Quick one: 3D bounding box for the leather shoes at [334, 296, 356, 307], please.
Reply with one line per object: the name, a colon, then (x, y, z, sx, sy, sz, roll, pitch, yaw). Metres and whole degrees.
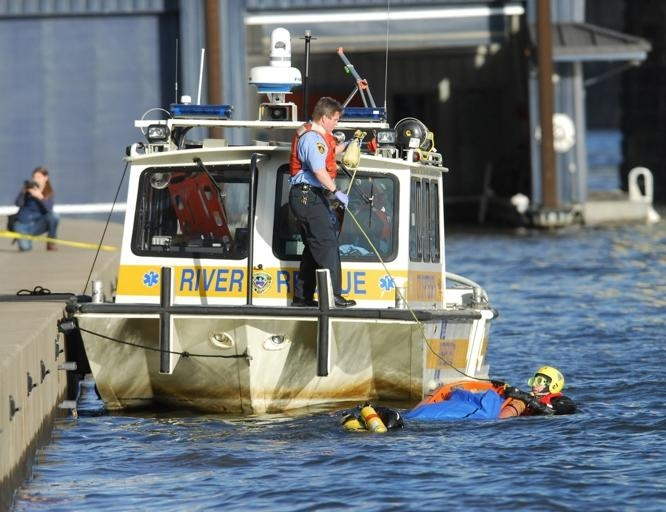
leather shoes: (0.169, 0.589, 25.275, 0.321, 0.136, 0.109, 4, 2, -11)

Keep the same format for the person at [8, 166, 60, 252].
person: (-5.467, -1.036, 34.208, 0.886, 1.273, 0.561, 3, 13, -11)

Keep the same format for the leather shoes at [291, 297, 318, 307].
leather shoes: (-0.397, 0.589, 25.475, 0.377, 0.151, 0.129, 0, 1, -2)

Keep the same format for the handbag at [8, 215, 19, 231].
handbag: (-5.923, -0.664, 34.413, 0.267, 0.411, 0.275, 0, 3, -14)

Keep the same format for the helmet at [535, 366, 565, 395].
helmet: (3.133, 1.723, 26.579, 0.426, 0.339, 0.332, 21, -7, -12)

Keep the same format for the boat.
boat: (-0.685, -0.214, 25.958, 5.143, 5.139, 2.500, 6, 13, 2)

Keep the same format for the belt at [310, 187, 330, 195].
belt: (-0.181, -0.948, 25.228, 0.160, 0.075, 0.119, 20, 8, 7)

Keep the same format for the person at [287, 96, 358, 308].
person: (-0.165, -0.755, 25.327, 0.961, 2.814, 0.514, 12, 14, 28)

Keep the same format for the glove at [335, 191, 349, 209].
glove: (0.125, -0.812, 25.195, 0.138, 0.096, 0.226, 43, -10, 35)

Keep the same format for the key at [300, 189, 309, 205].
key: (-0.374, -0.828, 25.207, 0.096, 0.199, 0.053, 5, 13, 0)

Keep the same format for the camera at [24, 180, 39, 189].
camera: (-5.567, -1.385, 34.516, 0.236, 0.116, 0.333, 5, 13, -12)
